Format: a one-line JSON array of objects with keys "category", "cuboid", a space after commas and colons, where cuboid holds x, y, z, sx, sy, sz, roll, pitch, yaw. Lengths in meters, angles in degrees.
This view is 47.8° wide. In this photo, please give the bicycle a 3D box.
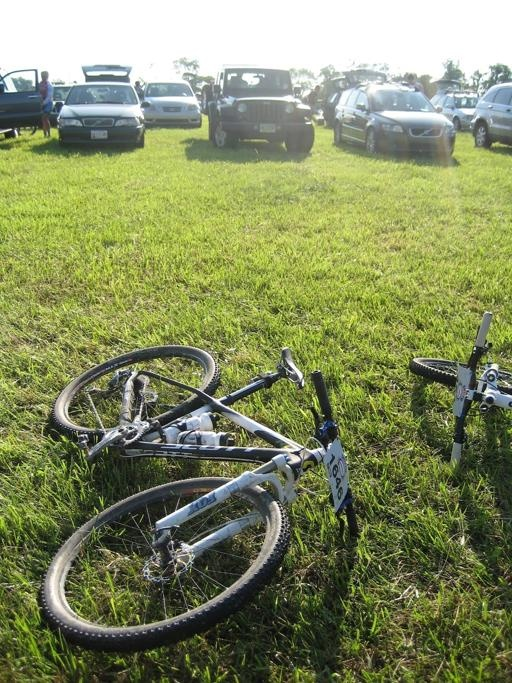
[{"category": "bicycle", "cuboid": [-0.088, 0.573, 2.127, 1.313, 0.419, 1.469, -12, 17, -24]}]
